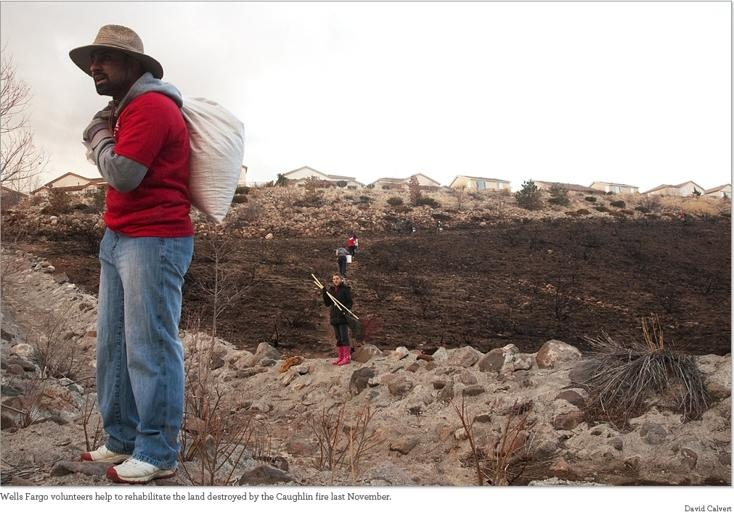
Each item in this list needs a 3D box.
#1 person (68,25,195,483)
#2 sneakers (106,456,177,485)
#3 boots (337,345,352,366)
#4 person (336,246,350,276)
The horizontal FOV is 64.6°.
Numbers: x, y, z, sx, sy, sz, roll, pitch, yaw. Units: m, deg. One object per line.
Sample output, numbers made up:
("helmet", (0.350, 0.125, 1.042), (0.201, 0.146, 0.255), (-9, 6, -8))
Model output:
("person", (-1.838, -0.037, 4.540), (0.979, 3.498, 0.825), (5, -12, -17))
("sneakers", (-1.728, 1.637, 4.490), (0.442, 0.216, 0.185), (12, -8, -19))
("boots", (-0.350, 1.599, 9.274), (0.179, 0.297, 0.291), (-4, -10, 28))
("person", (-0.635, 0.143, 15.527), (0.396, 0.957, 1.048), (2, -12, -2))
